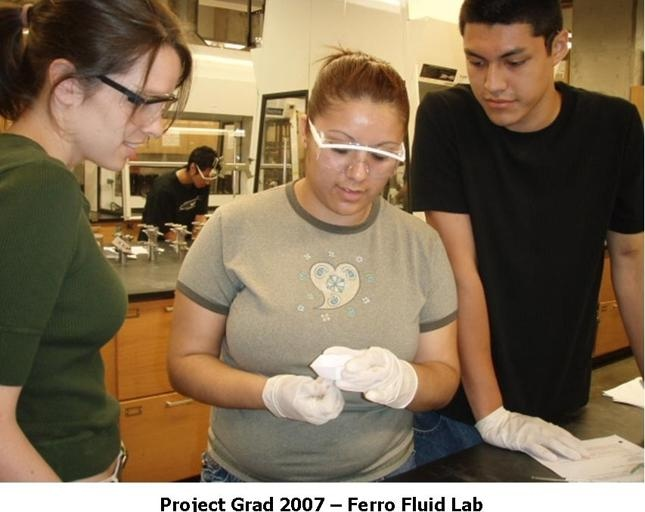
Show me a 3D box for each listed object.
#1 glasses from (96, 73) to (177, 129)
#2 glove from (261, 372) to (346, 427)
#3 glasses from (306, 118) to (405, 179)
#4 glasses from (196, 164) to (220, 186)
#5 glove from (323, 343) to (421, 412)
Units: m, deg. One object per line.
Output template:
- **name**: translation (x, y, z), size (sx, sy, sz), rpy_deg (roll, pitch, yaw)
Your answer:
- **glasses**: translation (-0.408, -0.339, 1.172), size (0.094, 0.031, 0.091), rpy_deg (44, 22, 8)
- **glove**: translation (-0.043, 0.322, 1.226), size (0.145, 0.109, 0.083), rpy_deg (1, 12, -18)
- **glasses**: translation (0.090, -0.271, 1.367), size (0.260, 0.127, 0.156), rpy_deg (1, 20, -2)
- **glasses**: translation (-0.760, -0.533, 3.598), size (0.043, 0.124, 0.108), rpy_deg (-27, -10, 37)
- **glove**: translation (0.119, 0.294, 1.309), size (0.197, 0.144, 0.107), rpy_deg (9, -9, -23)
